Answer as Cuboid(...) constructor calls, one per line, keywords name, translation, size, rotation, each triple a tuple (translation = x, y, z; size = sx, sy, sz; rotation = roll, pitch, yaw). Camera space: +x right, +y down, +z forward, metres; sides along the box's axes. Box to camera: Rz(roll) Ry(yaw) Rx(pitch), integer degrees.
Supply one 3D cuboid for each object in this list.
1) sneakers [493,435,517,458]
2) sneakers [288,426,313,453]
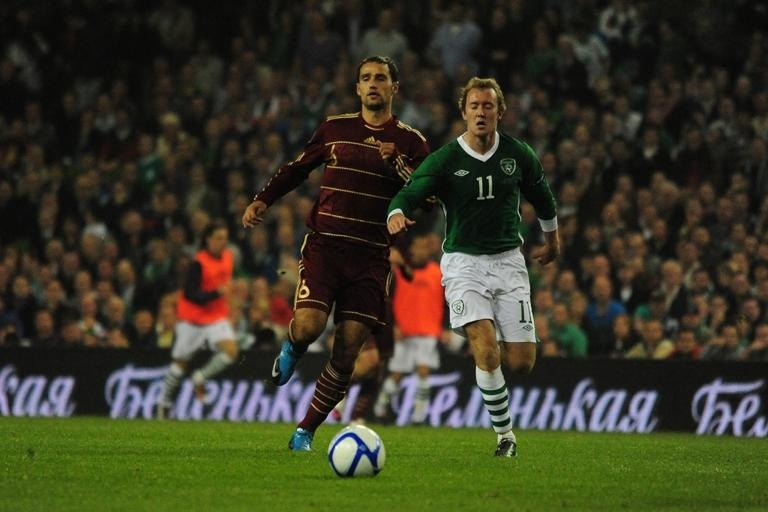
Cuboid(name="sneakers", translation=(1.445, 2.294, 15.411), size=(0.270, 0.263, 0.306), rotation=(3, -7, 5))
Cuboid(name="sneakers", translation=(-0.984, 2.194, 15.324), size=(0.292, 0.290, 0.248), rotation=(6, -7, -16))
